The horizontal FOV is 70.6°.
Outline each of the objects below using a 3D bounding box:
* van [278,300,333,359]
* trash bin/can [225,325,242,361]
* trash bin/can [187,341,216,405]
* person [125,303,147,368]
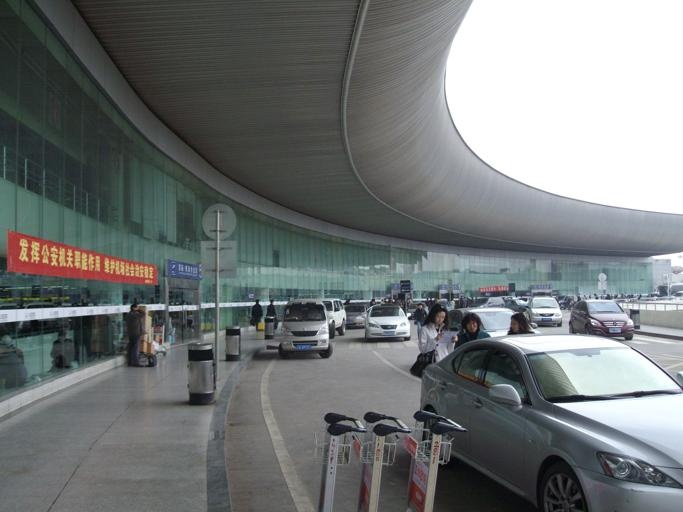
[{"bbox_3d":[-1.471,2.913,19.473,1.397,1.587,2.832,0,-13,-2],"label":"van"},{"bbox_3d":[-4.019,3.230,17.871,0.512,1.226,0.581,-1,-1,-4],"label":"trash bin/can"},{"bbox_3d":[-2.985,2.524,10.308,0.516,1.248,0.385,-1,-1,-24],"label":"trash bin/can"},{"bbox_3d":[-7.190,2.788,16.867,0.520,2.150,0.998,-1,-1,-25],"label":"person"}]
